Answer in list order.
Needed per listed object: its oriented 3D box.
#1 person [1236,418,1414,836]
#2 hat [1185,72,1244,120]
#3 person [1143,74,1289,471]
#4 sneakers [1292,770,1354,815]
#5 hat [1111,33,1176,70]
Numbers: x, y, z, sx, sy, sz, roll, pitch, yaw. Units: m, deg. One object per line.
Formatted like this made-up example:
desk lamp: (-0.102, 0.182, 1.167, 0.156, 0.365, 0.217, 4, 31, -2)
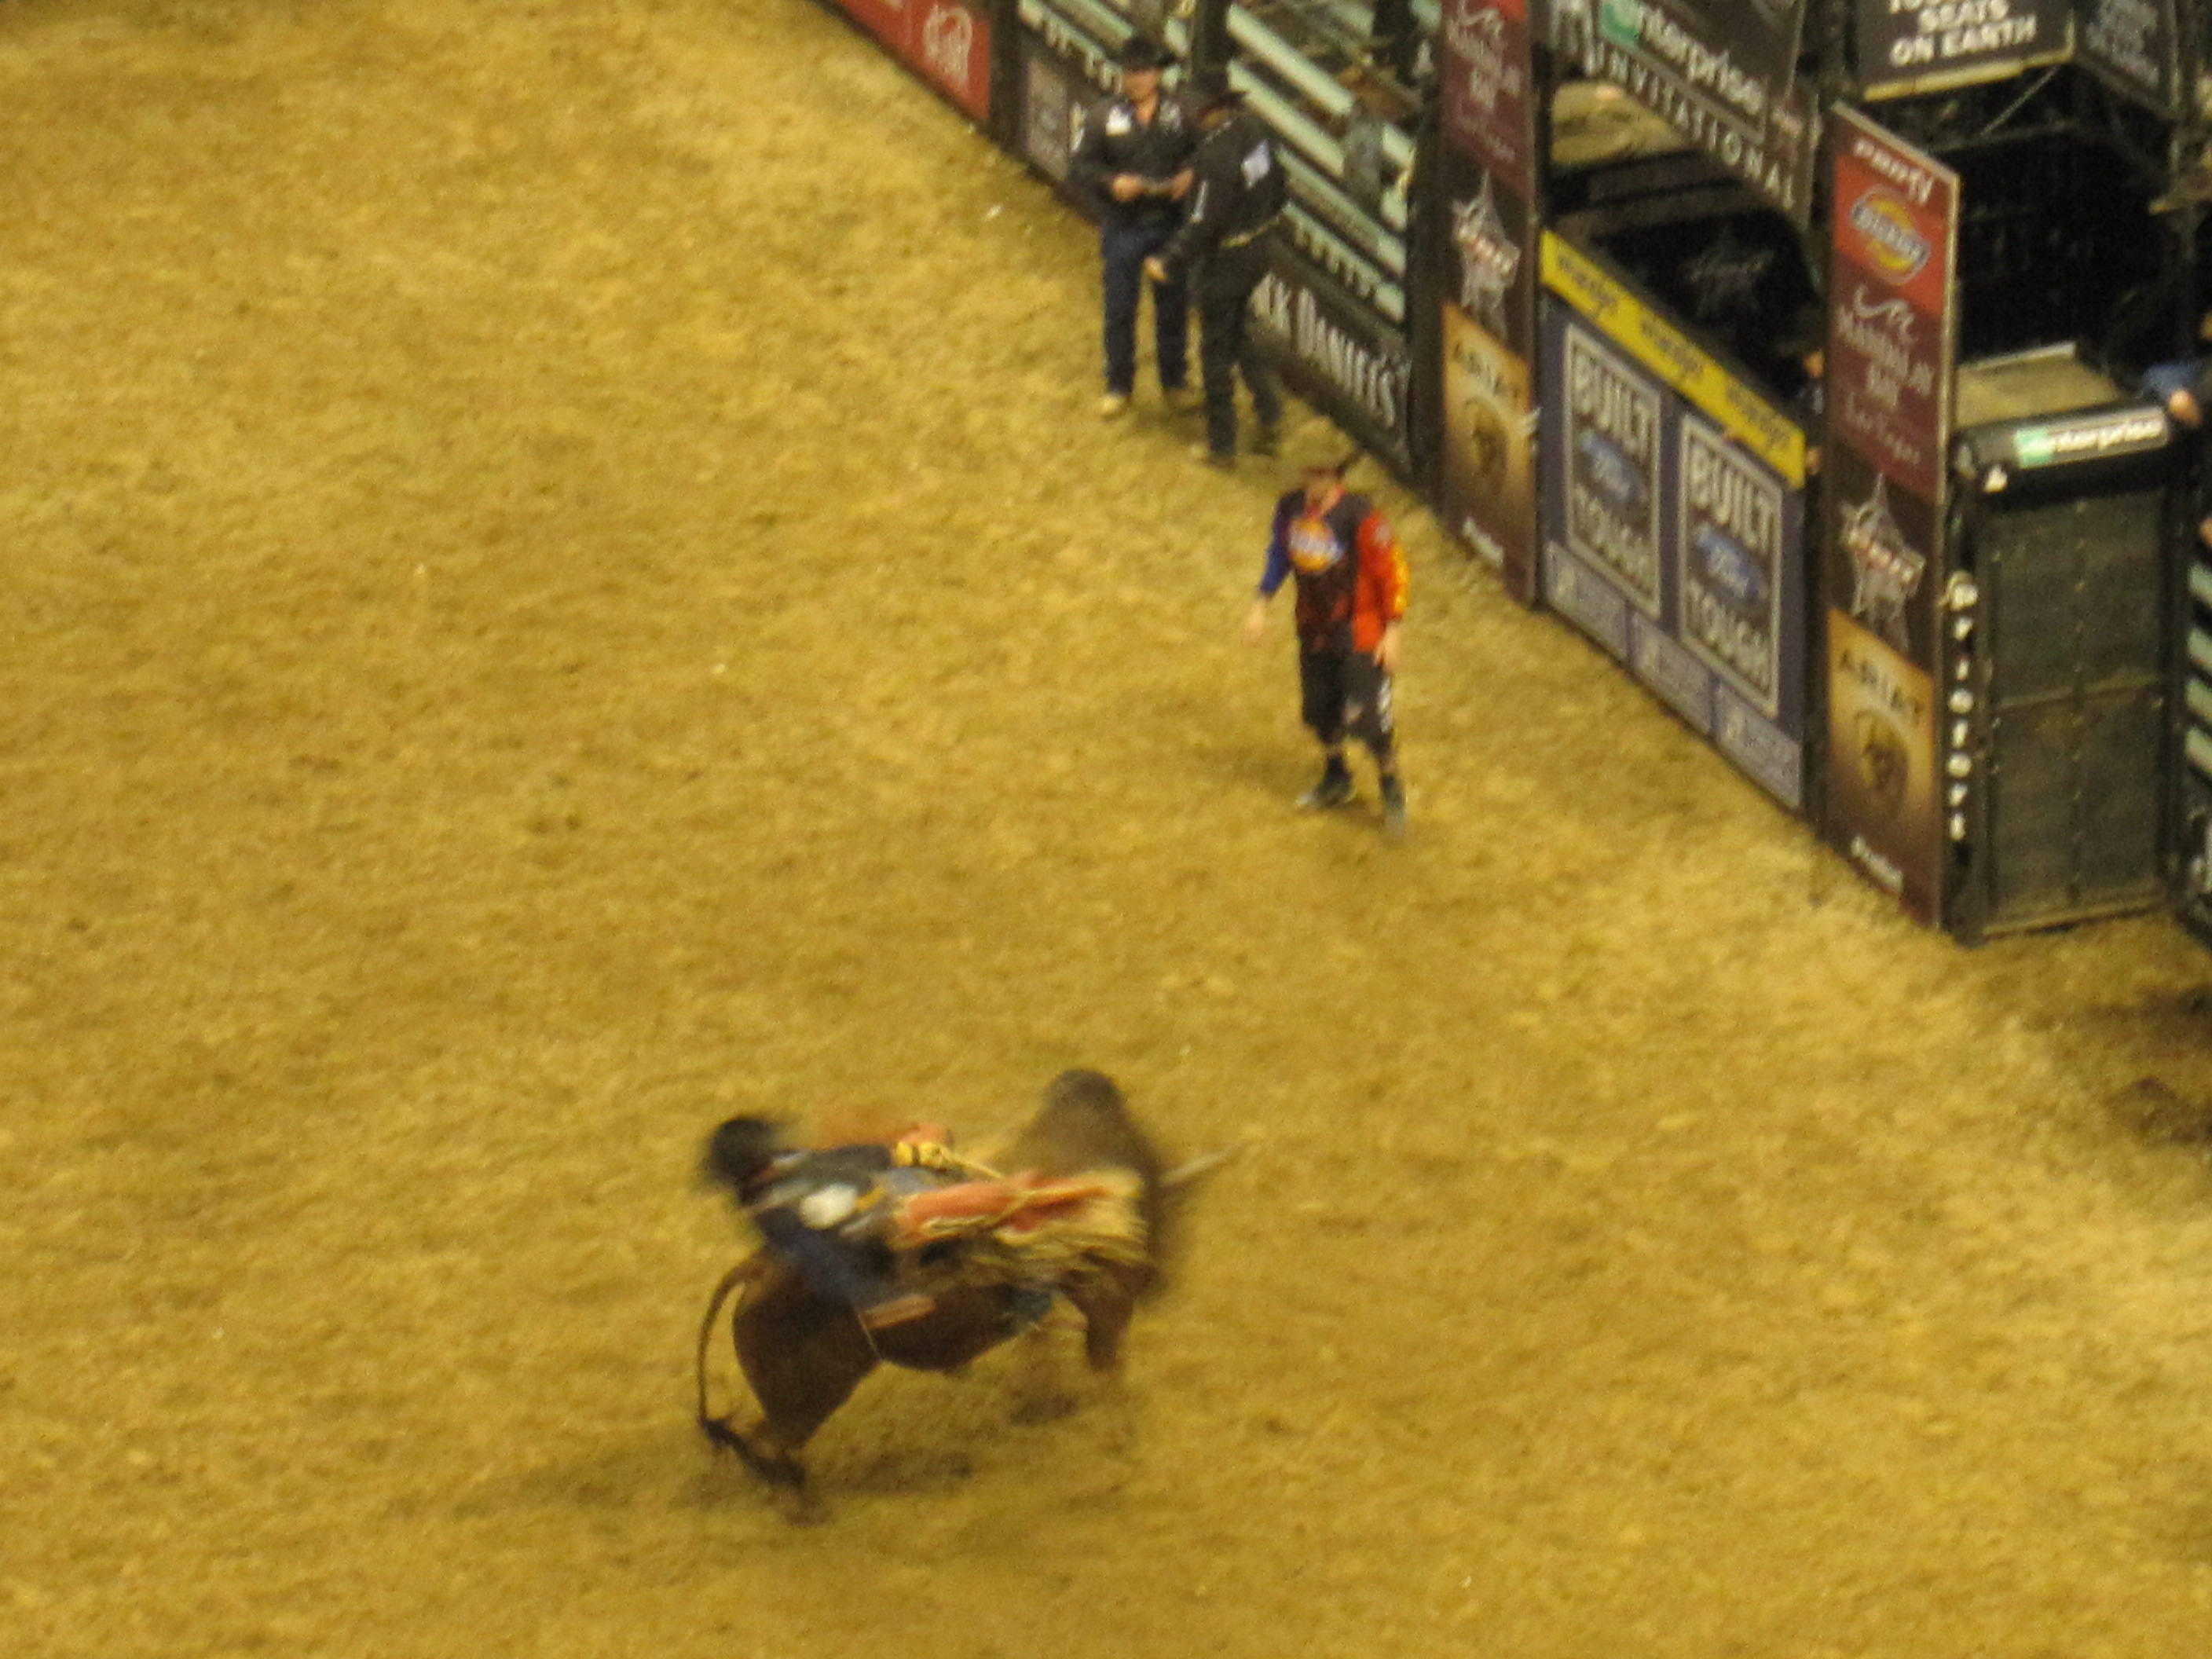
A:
person: (1.180, -1.033, 33.316, 0.787, 2.183, 0.682, 5, 32, 18)
hat: (0.566, -4.183, 35.805, 0.299, 0.283, 0.264, -5, 32, 0)
person: (0.654, -3.252, 36.115, 0.638, 2.160, 0.708, 0, 31, 8)
sneakers: (1.158, -0.233, 33.845, 0.357, 0.171, 0.138, -19, 36, -23)
hat: (0.147, -4.450, 36.142, 0.296, 0.107, 0.312, -6, 15, -17)
